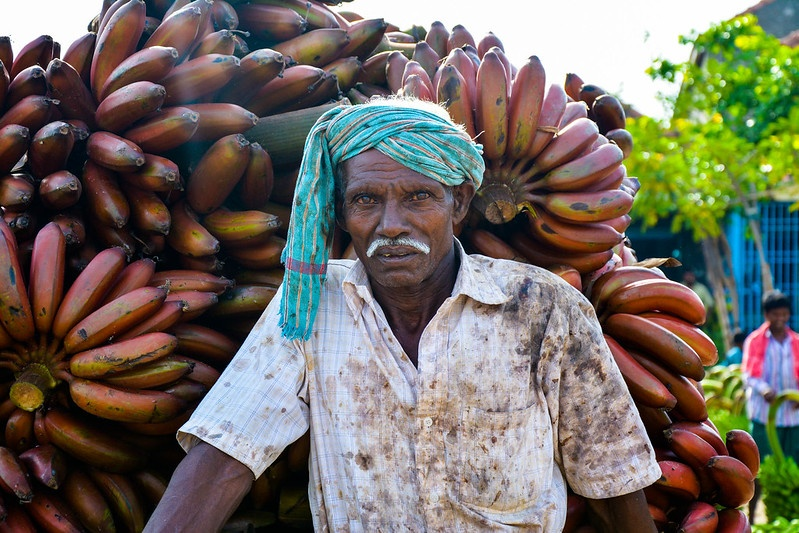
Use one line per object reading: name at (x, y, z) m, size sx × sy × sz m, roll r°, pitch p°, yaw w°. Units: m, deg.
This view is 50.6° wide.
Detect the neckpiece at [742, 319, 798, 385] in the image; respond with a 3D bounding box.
neckpiece at (4.065, 0.960, 9.261) m, size 0.642 × 0.628 × 0.360 m, roll 7°, pitch -22°, yaw -17°

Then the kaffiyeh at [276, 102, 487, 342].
kaffiyeh at (-0.065, -0.200, 4.267) m, size 1.049 × 1.370 × 0.691 m, roll -3°, pitch -9°, yaw -1°
